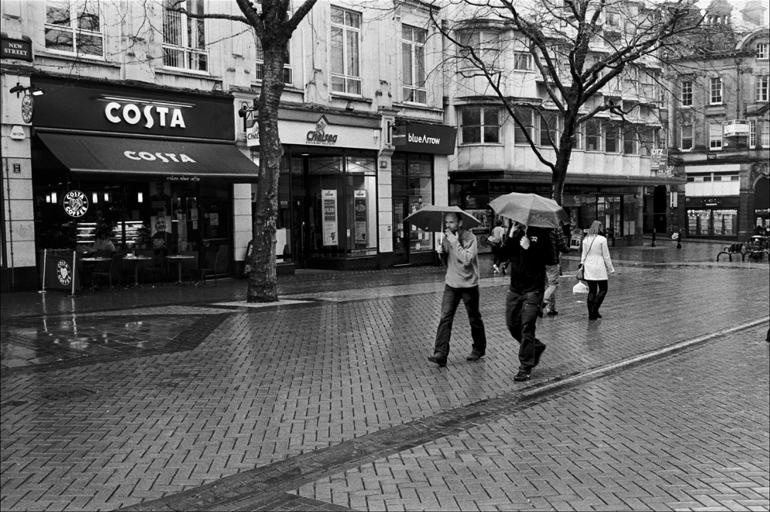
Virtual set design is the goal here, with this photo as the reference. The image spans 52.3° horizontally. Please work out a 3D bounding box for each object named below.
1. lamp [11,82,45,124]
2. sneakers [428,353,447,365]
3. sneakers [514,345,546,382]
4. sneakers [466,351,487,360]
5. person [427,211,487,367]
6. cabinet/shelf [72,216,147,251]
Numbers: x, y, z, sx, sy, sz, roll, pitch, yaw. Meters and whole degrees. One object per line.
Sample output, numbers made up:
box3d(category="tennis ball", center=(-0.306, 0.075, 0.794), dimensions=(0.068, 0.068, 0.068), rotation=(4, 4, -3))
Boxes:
box3d(category="lamp", center=(-9.444, -4.081, 20.874), dimensions=(0.808, 1.045, 0.553), rotation=(-2, 7, -21))
box3d(category="sneakers", center=(0.865, 1.682, 12.812), dimensions=(0.282, 0.204, 0.345), rotation=(1, 7, 8))
box3d(category="sneakers", center=(2.255, 1.693, 12.222), dimensions=(0.141, 0.496, 0.192), rotation=(20, 2, 41))
box3d(category="sneakers", center=(1.545, 1.693, 13.247), dimensions=(0.338, 0.137, 0.123), rotation=(2, -5, -38))
box3d(category="person", center=(1.230, 0.508, 13.028), dimensions=(0.908, 2.499, 1.111), rotation=(1, 6, 8))
box3d(category="cabinet/shelf", center=(-7.893, -0.648, 22.834), dimensions=(0.222, 0.852, 2.089), rotation=(5, 8, 36))
